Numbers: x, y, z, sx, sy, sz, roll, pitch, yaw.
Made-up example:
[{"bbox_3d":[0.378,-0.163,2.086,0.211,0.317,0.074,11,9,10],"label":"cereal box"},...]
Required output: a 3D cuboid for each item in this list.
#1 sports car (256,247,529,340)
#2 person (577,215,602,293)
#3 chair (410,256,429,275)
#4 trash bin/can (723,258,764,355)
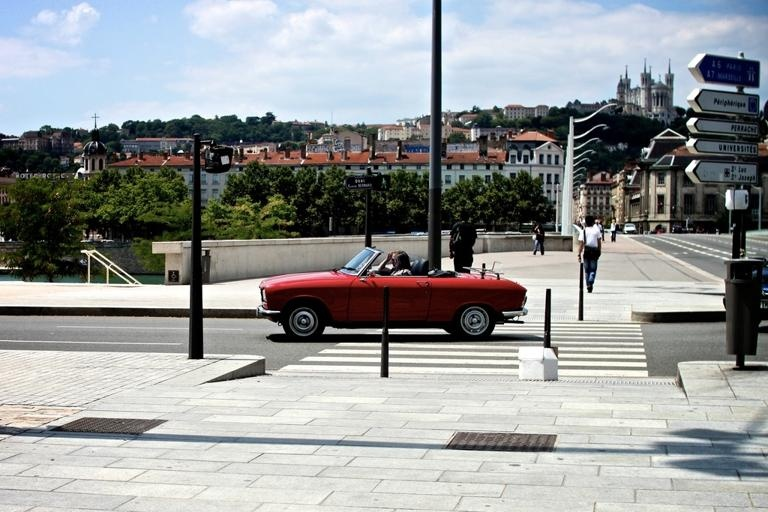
[{"bbox_3d":[-0.026,0.698,20.644,5.153,1.470,2.502,1,2,-15],"label":"sports car"},{"bbox_3d":[5.252,-0.227,28.147,0.996,2.393,1.240,0,0,15],"label":"person"},{"bbox_3d":[0.611,0.170,19.845,0.357,0.296,0.186,2,-9,38],"label":"chair"},{"bbox_3d":[5.079,0.704,15.590,0.580,1.391,0.519,-1,-1,5],"label":"trash bin/can"}]
